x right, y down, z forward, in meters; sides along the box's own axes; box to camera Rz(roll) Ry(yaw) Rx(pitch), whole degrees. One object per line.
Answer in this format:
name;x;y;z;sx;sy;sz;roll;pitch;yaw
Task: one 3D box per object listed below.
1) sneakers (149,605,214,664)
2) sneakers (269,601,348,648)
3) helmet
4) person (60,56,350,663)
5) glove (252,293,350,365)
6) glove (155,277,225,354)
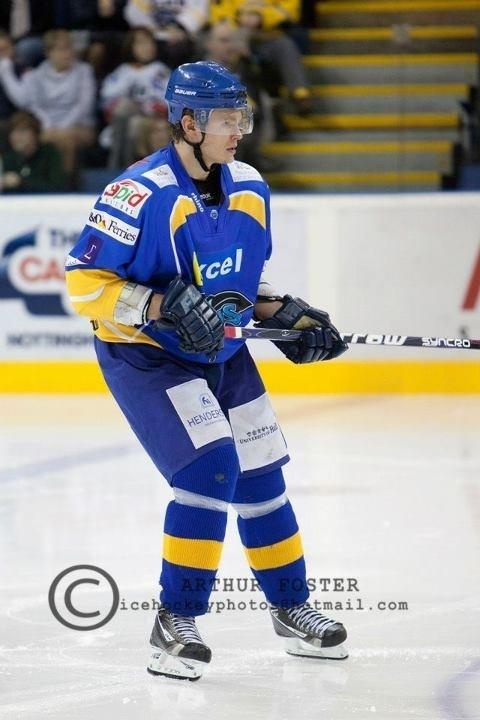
sneakers;-0.132;0.596;1.816;0.092;0.089;0.140;-1;6;-22
sneakers;0.152;0.618;1.963;0.068;0.070;0.196;-7;0;-37
helmet;-0.063;-0.592;1.931;0.220;0.175;0.164;-1;7;19
person;-0.067;0.004;1.905;0.619;1.368;0.389;-1;7;-24
glove;0.159;-0.065;2.157;0.245;0.113;0.142;30;60;21
glove;-0.099;-0.098;1.738;0.053;0.171;0.121;-1;53;49
